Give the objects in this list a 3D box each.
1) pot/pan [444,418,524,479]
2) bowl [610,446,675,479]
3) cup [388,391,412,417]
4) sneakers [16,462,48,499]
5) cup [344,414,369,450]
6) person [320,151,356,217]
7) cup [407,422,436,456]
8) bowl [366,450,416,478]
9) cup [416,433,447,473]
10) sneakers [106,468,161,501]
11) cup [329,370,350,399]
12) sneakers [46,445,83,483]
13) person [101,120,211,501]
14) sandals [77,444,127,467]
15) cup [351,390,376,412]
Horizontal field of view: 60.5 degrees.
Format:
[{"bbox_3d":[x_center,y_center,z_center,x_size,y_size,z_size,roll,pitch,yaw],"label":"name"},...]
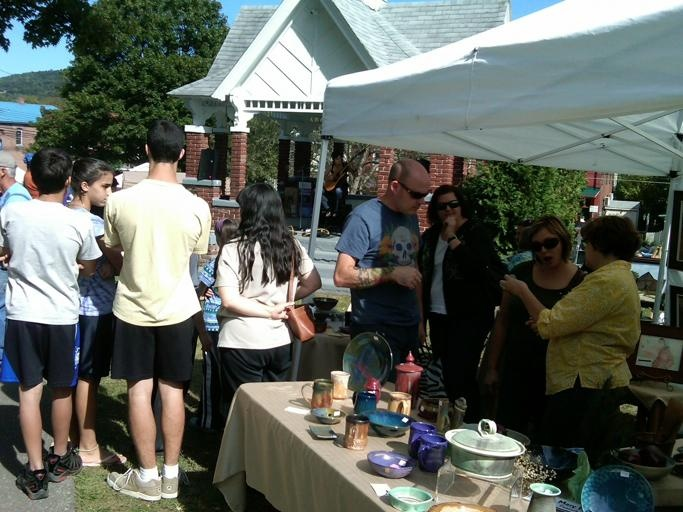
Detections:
[{"bbox_3d":[0.647,0.824,2.636,0.276,0.166,0.274,4,-1,-17],"label":"pot/pan"},{"bbox_3d":[1.561,1.120,3.106,0.313,0.135,0.308,12,-26,6],"label":"bowl"},{"bbox_3d":[0.337,0.855,3.381,0.096,0.104,0.147,4,6,-7],"label":"cup"},{"bbox_3d":[-2.134,1.554,4.038,0.121,0.139,0.317,0,7,-26],"label":"sneakers"},{"bbox_3d":[0.080,0.916,3.078,0.128,0.164,0.133,3,10,0],"label":"cup"},{"bbox_3d":[-0.006,-1.812,15.659,0.232,1.721,0.796,5,40,-29],"label":"person"},{"bbox_3d":[0.413,0.936,3.032,0.104,0.144,0.167,6,10,20],"label":"cup"},{"bbox_3d":[0.241,1.019,2.864,0.228,0.075,0.188,5,10,13],"label":"bowl"},{"bbox_3d":[0.441,0.963,2.919,0.120,0.138,0.188,7,11,25],"label":"cup"},{"bbox_3d":[-1.424,1.599,4.150,0.410,0.192,0.173,11,-7,24],"label":"sneakers"},{"bbox_3d":[0.002,0.819,3.721,0.149,0.161,0.150,-1,-5,0],"label":"cup"},{"bbox_3d":[-1.984,1.498,4.266,0.141,0.162,0.356,3,5,7],"label":"sneakers"},{"bbox_3d":[-1.233,0.389,3.956,0.697,2.570,0.379,-1,11,-22],"label":"person"},{"bbox_3d":[-1.801,1.515,4.425,0.334,0.135,0.141,0,1,-17],"label":"sandals"},{"bbox_3d":[0.129,0.839,3.385,0.087,0.091,0.135,2,-3,-34],"label":"cup"}]
